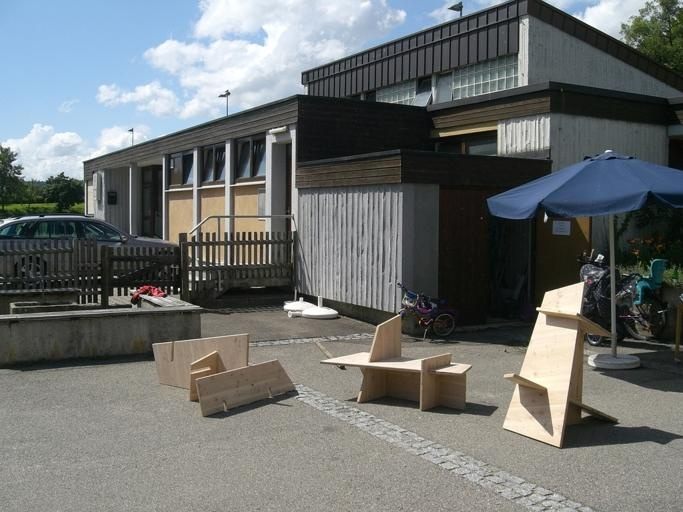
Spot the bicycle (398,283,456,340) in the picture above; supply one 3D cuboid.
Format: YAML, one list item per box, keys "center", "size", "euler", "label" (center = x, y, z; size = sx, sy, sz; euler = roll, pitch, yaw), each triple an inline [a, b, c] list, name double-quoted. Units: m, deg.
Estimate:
- center: [1.589, 1.134, 10.407]
  size: [1.256, 0.937, 0.731]
  euler: [18, -24, -19]
  label: "bicycle"

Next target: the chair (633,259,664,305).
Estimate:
- center: [5.142, 0.381, 9.187]
  size: [0.416, 0.753, 0.486]
  euler: [-14, 9, -29]
  label: "chair"
